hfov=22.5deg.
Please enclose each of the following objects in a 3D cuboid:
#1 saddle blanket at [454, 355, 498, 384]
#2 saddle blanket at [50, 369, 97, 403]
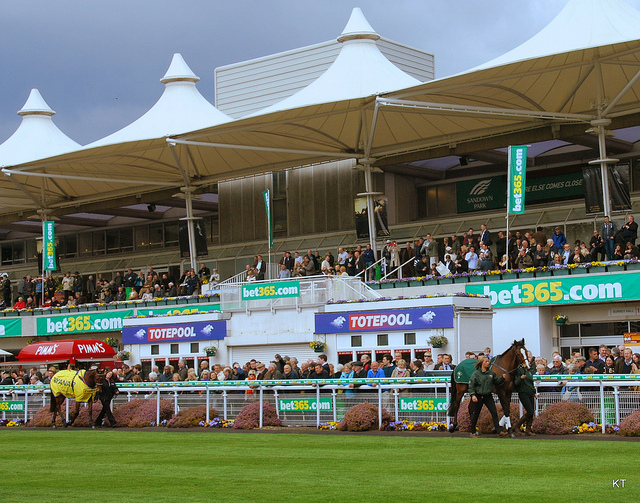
[{"bbox_3d":[3.653,2.989,40.332,0.583,0.611,0.563,-1,-8,-13],"label":"saddle blanket"},{"bbox_3d":[-6.878,3.749,45.191,1.445,0.867,0.925,6,5,34],"label":"saddle blanket"}]
